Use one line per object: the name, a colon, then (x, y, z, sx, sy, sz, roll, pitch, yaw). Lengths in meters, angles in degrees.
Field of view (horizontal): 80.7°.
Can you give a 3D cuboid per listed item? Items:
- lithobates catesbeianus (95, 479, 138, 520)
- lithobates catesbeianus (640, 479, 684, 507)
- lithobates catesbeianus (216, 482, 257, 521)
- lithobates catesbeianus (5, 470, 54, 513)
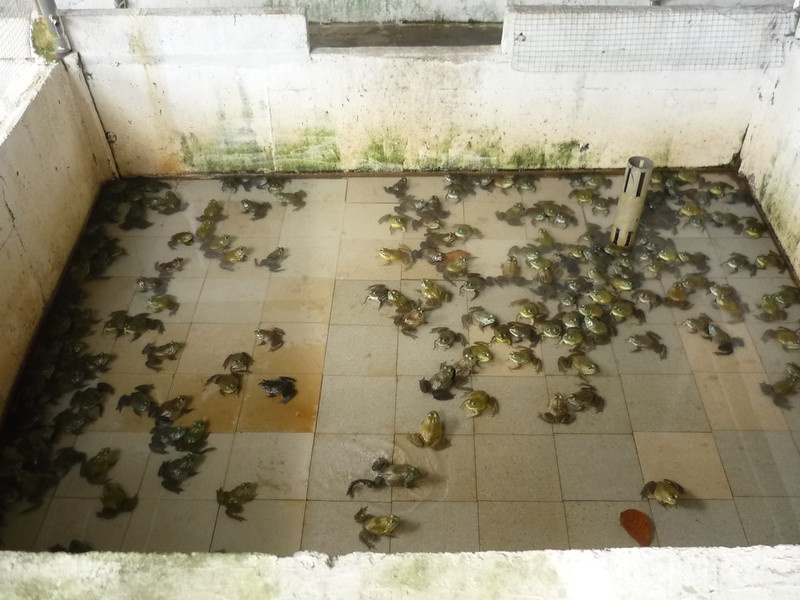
lithobates catesbeianus: (-1.706, 1.197, 2.870, 0.223, 0.067, 0.236, -6, 38, -8)
lithobates catesbeianus: (1.581, 1.142, 2.827, 0.278, 0.084, 0.150, -1, 39, -2)
lithobates catesbeianus: (-1.003, 1.194, 2.859, 0.242, 0.059, 0.225, 10, 39, 12)
lithobates catesbeianus: (-2.314, 1.170, 2.909, 0.320, 0.059, 0.231, 4, 38, 4)
